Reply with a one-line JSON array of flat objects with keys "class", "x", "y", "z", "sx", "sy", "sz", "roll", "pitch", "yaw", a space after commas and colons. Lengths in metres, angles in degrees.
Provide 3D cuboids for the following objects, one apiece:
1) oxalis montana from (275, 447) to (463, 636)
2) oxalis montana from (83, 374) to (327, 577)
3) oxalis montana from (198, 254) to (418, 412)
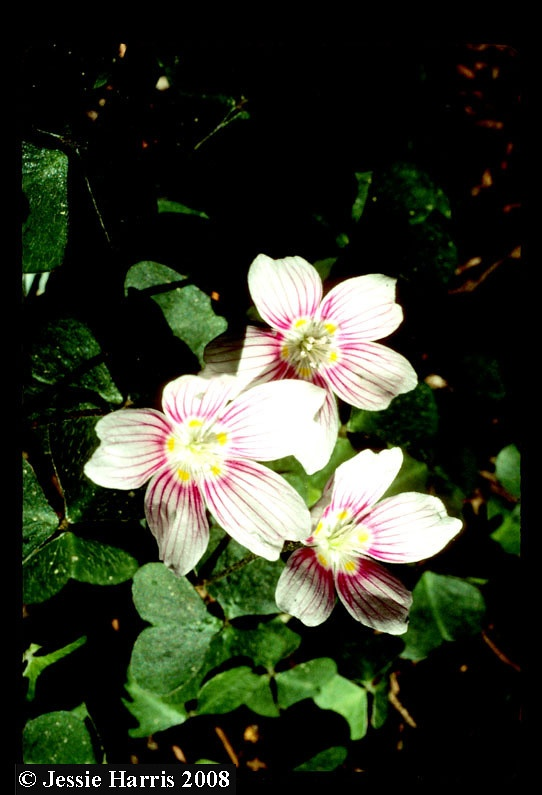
[{"class": "oxalis montana", "x": 0.066, "y": 0.096, "z": 0.621, "sx": 0.164, "sy": 0.171, "sz": 0.065, "roll": 33, "pitch": 106, "yaw": 13}, {"class": "oxalis montana", "x": -0.055, "y": 0.041, "z": 0.592, "sx": 0.176, "sy": 0.052, "sz": 0.159, "roll": -21, "pitch": 58, "yaw": 31}, {"class": "oxalis montana", "x": 0.032, "y": -0.052, "z": 0.620, "sx": 0.177, "sy": 0.080, "sz": 0.108, "roll": -3, "pitch": 63, "yaw": -5}]
